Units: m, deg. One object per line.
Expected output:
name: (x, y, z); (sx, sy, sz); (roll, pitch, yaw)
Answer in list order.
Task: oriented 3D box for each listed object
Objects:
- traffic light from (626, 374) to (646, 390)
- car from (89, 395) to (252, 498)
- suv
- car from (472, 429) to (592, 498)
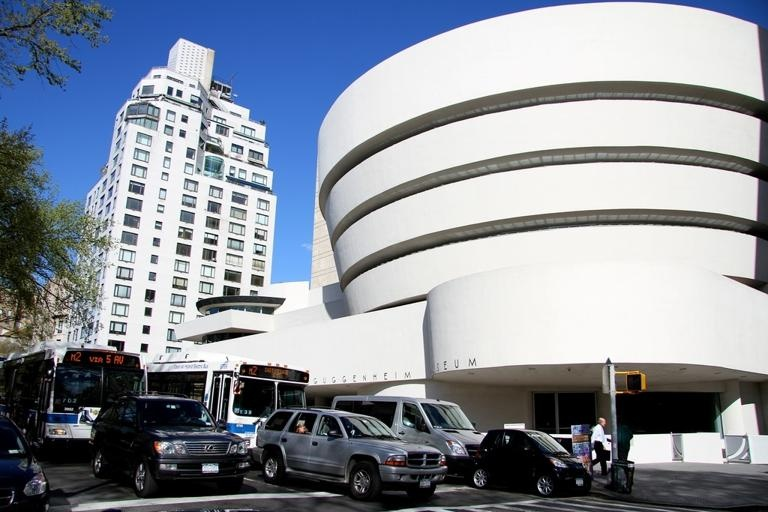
traffic light: (9.096, 4.583, 19.352); (0.279, 0.472, 0.503); (20, -25, -17)
car: (-6.610, 5.622, 16.066); (4.775, 2.839, 2.157); (-10, -22, 29)
suv: (-1.446, 6.217, 17.172); (5.675, 2.075, 2.780); (-12, -19, 40)
car: (5.114, 7.450, 19.376); (2.286, 1.878, 3.769); (19, -27, -40)
